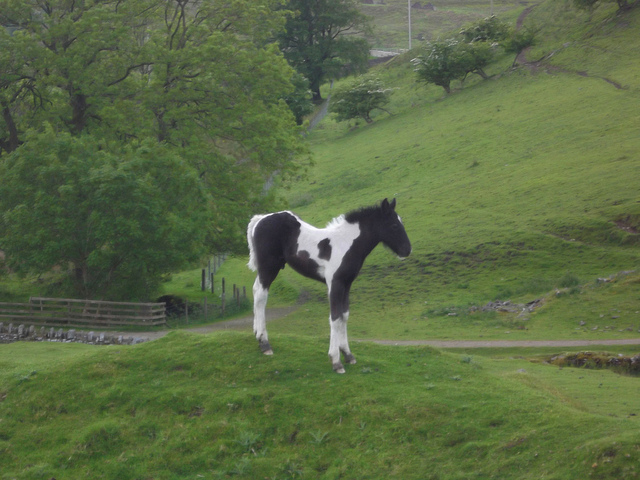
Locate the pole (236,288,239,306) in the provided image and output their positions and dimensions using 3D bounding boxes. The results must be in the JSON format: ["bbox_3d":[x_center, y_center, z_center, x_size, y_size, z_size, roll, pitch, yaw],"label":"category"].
[{"bbox_3d":[-6.413,4.467,74.397,0.173,1.105,0.769,-4,-2,-5],"label":"pole"}]
